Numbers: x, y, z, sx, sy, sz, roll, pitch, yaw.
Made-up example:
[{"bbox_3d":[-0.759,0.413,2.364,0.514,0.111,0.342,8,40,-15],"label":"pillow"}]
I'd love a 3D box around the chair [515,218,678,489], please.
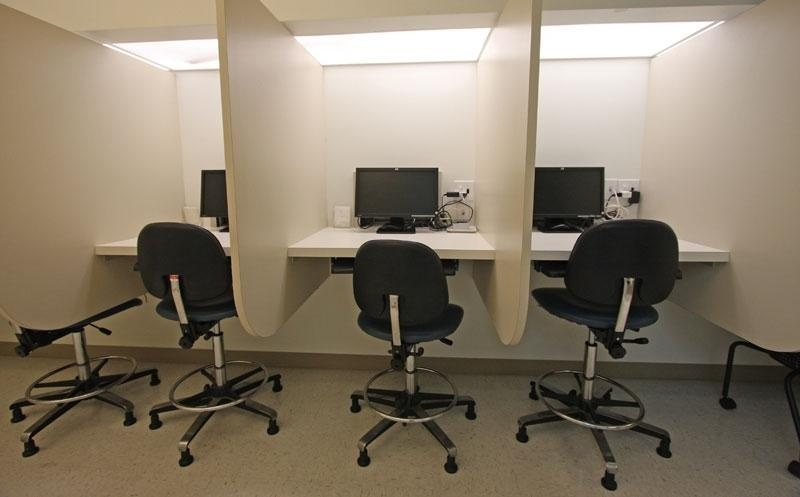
[{"bbox_3d":[1.377,0.633,3.970,1.012,1.711,0.802,6,14,25],"label":"chair"}]

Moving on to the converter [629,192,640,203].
[{"bbox_3d":[1.803,-0.390,4.459,0.083,0.107,0.081,3,6,17],"label":"converter"}]

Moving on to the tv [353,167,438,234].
[{"bbox_3d":[-0.028,-0.385,4.476,0.543,0.380,0.153,0,2,2],"label":"tv"}]

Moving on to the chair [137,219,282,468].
[{"bbox_3d":[-1.369,0.579,4.130,0.890,1.586,0.792,-5,14,-22],"label":"chair"}]

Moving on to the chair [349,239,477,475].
[{"bbox_3d":[0.058,0.671,3.965,0.856,1.523,0.641,0,13,-1],"label":"chair"}]

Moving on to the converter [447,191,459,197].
[{"bbox_3d":[0.408,-0.420,4.536,0.098,0.038,0.024,3,13,11],"label":"converter"}]
